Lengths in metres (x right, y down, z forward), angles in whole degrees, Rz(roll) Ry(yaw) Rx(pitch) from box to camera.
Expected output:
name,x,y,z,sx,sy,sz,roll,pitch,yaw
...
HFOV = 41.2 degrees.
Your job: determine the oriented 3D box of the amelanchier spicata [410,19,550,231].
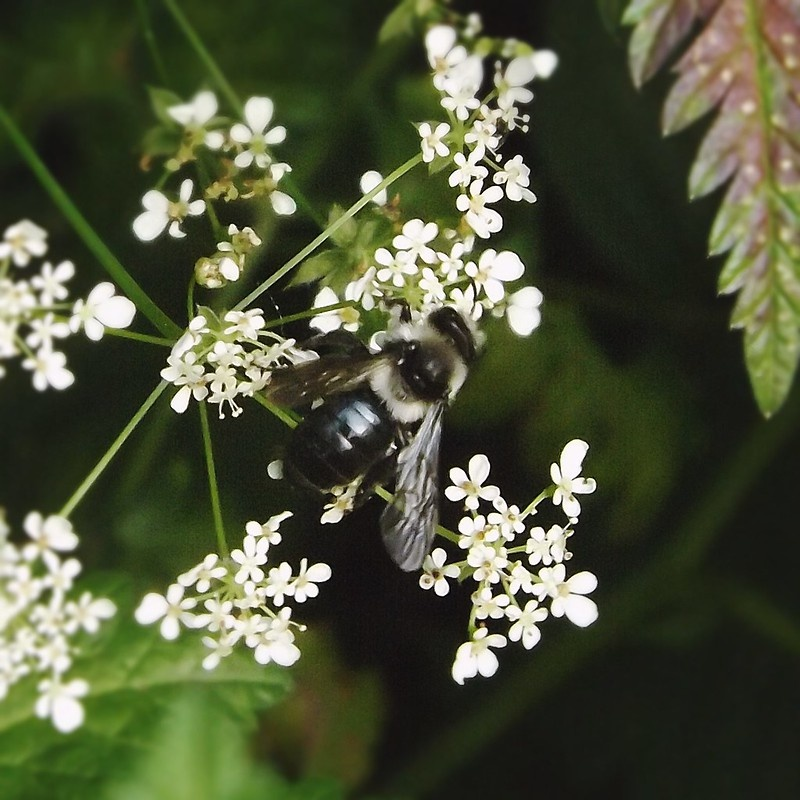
name,x,y,z,sx,sy,sz,roll,pitch,yaw
amelanchier spicata,0.062,-0.291,1.188,0.075,0.209,0.204,-1,1,43
